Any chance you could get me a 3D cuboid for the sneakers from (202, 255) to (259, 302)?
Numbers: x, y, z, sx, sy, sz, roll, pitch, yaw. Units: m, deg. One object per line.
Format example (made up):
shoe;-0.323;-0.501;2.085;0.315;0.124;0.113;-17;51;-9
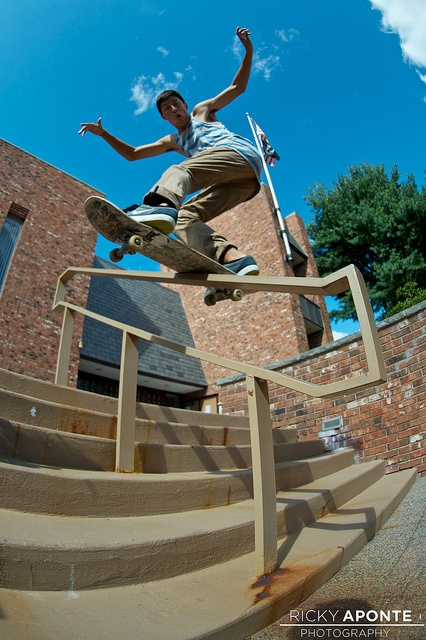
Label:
sneakers;0.098;-0.255;2.884;0.196;0.232;0.568;19;-23;-39
